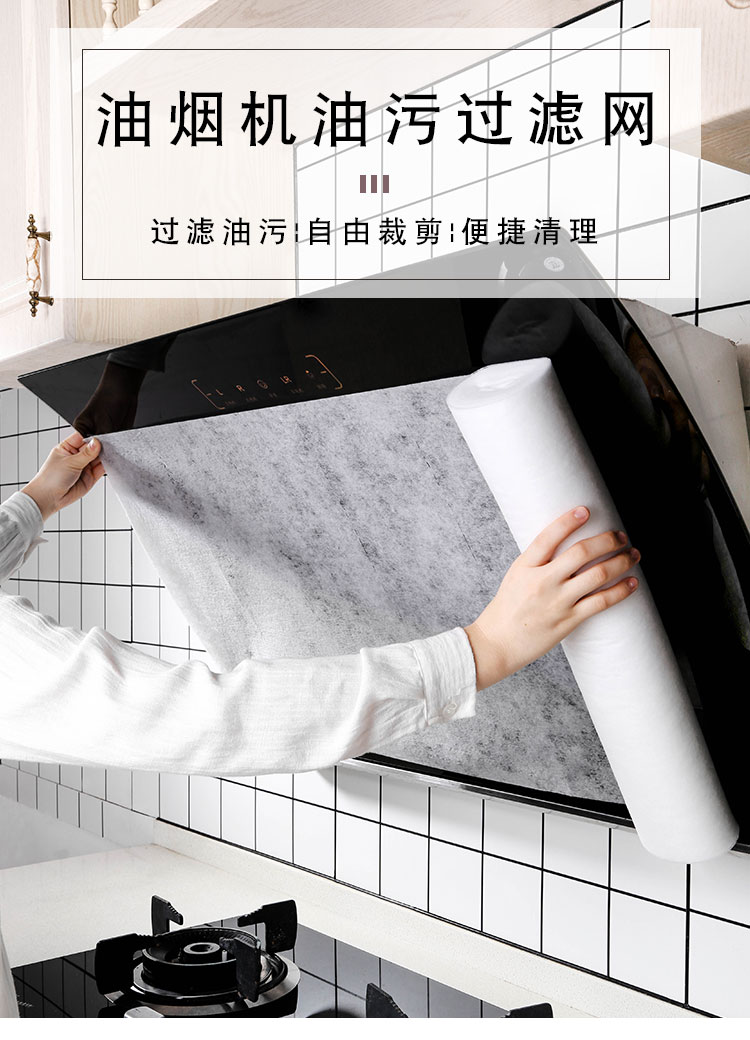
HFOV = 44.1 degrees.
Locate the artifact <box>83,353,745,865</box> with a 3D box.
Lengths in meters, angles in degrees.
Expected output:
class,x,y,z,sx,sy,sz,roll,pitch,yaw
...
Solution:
class,x,y,z,sx,sy,sz,roll,pitch,yaw
artifact,0.103,0.074,0.863,0.401,0.443,0.633,-5,13,-22
